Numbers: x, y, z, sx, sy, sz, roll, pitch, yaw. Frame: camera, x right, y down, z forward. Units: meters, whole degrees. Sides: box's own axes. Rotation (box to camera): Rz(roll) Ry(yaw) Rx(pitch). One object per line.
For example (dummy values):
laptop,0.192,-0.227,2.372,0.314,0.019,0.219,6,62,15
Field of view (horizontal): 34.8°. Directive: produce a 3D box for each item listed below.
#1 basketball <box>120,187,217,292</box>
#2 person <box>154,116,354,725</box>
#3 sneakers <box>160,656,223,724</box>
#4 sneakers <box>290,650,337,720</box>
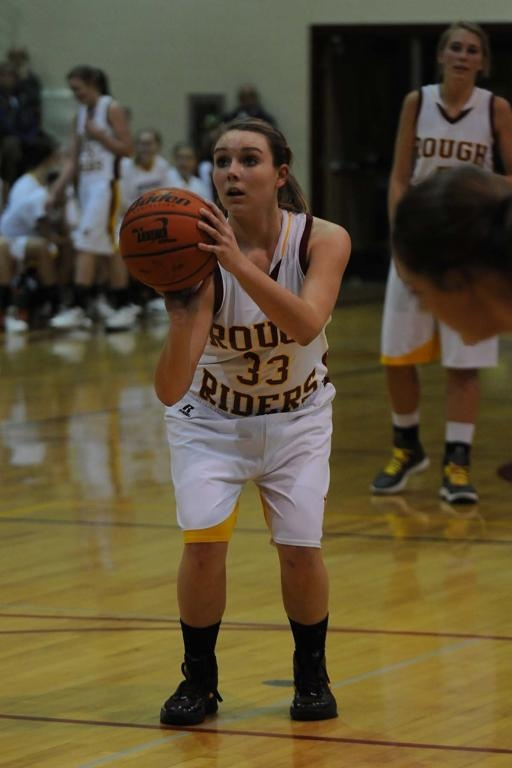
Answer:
basketball,-0.168,-0.269,1.521,0.172,0.189,0.121,-4,11,-6
person,-0.011,0.100,1.811,0.512,1.345,0.491,-5,11,-11
sneakers,-0.132,0.699,1.859,0.088,0.114,0.181,-1,-6,24
sneakers,0.138,0.693,1.887,0.082,0.094,0.165,-4,-9,5
